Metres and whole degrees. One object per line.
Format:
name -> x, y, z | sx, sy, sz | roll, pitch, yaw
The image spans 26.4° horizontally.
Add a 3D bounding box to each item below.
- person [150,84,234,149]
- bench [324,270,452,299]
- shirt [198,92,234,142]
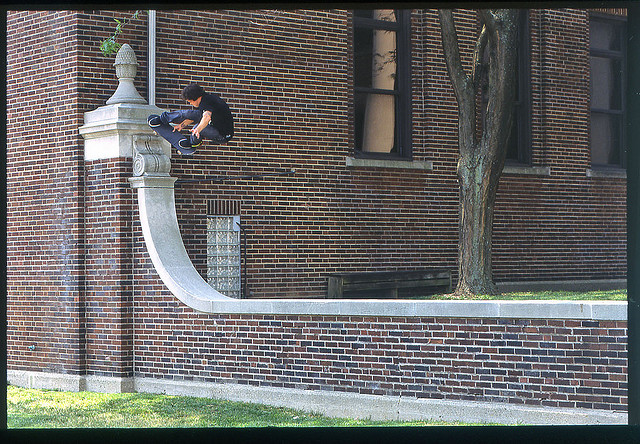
person -> -2.036, -1.841, 24.123 | 1.061, 1.270, 0.678 | 1, 0, -21
bench -> 1.490, 1.205, 27.367 | 2.703, 0.613, 0.333 | 6, -11, -30
shirt -> -1.889, -1.881, 24.576 | 0.740, 0.798, 0.253 | 9, -13, -41
